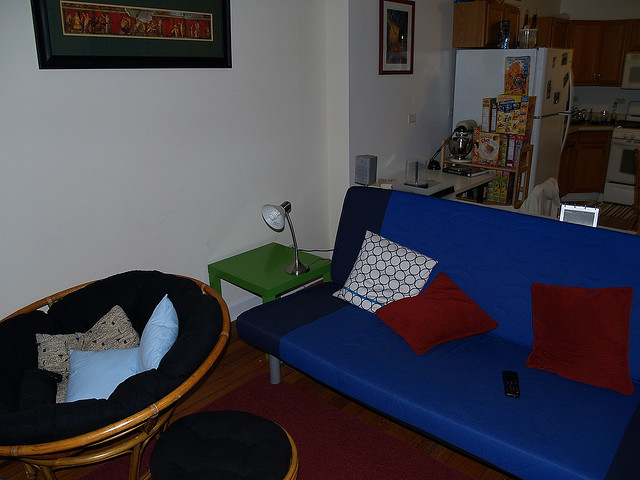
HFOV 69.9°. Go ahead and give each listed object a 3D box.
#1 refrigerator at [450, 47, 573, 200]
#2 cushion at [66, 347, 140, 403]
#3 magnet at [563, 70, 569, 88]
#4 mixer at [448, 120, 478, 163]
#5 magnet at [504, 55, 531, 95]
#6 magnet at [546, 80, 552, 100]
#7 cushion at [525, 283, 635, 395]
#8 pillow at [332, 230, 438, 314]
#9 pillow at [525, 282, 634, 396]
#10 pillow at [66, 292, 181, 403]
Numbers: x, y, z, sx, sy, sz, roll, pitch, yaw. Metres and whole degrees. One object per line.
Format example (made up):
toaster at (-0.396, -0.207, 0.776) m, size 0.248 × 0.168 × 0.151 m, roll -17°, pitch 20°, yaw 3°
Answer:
refrigerator at (1.928, -1.225, 4.691) m, size 0.969 × 2.035 × 1.027 m, roll 16°, pitch 31°, yaw 41°
cushion at (-1.119, 0.684, 2.344) m, size 0.400 × 0.125 × 0.325 m, roll -4°, pitch 20°, yaw -8°
magnet at (2.711, -1.772, 5.045) m, size 0.025 × 0.123 × 0.196 m, roll 15°, pitch 62°, yaw 40°
mixer at (1.518, -1.026, 4.794) m, size 0.329 × 0.404 × 0.237 m, roll -7°, pitch 20°, yaw -18°
magnet at (2.018, -1.676, 4.672) m, size 0.253 × 0.360 × 0.081 m, roll 8°, pitch 21°, yaw 24°
magnet at (2.351, -1.545, 4.702) m, size 0.019 × 0.203 × 0.108 m, roll 10°, pitch 38°, yaw 35°
cushion at (1.325, 0.508, 2.292) m, size 0.462 × 0.498 × 0.092 m, roll 3°, pitch -13°, yaw 39°
pillow at (0.417, 0.234, 2.873) m, size 0.510 × 0.483 × 0.163 m, roll 27°, pitch 4°, yaw 38°
pillow at (1.322, 0.508, 2.293) m, size 0.471 × 0.507 × 0.093 m, roll 2°, pitch -13°, yaw 41°
pillow at (-1.021, 0.612, 2.317) m, size 0.478 × 0.154 × 0.489 m, roll -24°, pitch 39°, yaw -21°
